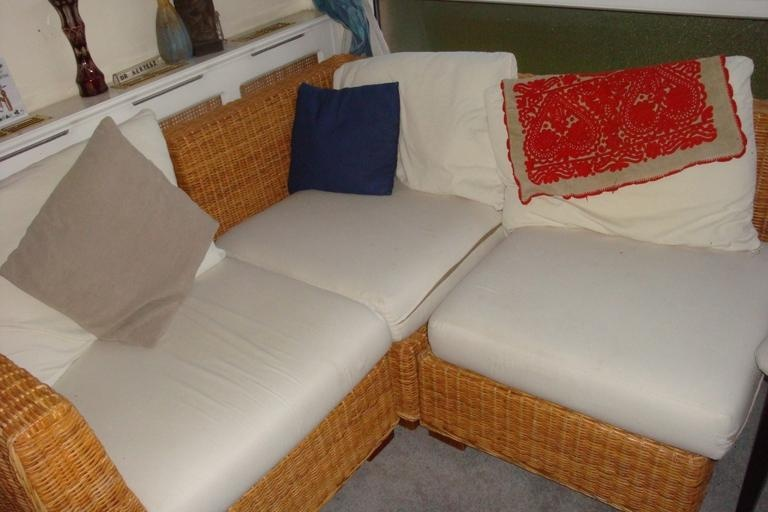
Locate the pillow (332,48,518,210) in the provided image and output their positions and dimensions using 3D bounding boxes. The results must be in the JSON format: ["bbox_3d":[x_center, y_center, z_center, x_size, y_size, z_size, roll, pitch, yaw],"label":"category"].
[{"bbox_3d":[0.031,-0.503,2.761,0.757,0.208,0.775,9,-17,-24],"label":"pillow"}]
